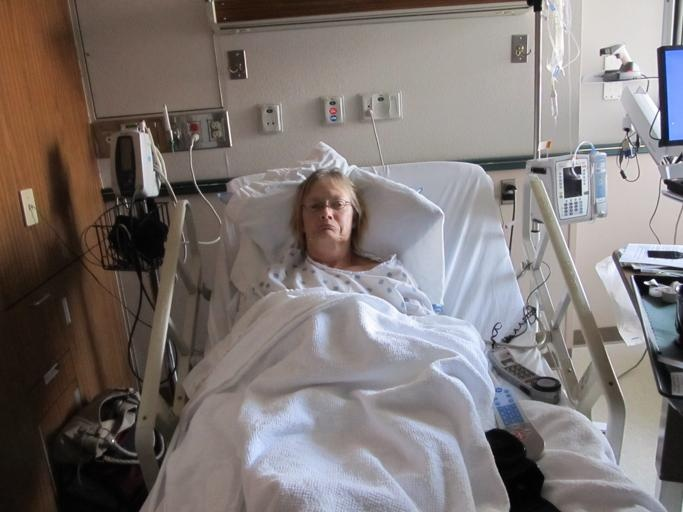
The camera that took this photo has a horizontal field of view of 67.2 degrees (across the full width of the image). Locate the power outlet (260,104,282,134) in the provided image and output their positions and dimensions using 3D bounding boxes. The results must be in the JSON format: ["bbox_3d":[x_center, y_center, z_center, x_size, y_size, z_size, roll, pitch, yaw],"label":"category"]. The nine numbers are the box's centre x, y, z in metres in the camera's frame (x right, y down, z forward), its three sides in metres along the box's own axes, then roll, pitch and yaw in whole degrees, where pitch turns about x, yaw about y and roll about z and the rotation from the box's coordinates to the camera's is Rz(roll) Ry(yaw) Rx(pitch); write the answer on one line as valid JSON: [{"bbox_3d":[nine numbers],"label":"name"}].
[{"bbox_3d":[-0.338,-0.659,2.457,0.096,0.137,0.040,-1,11,-2],"label":"power outlet"}]

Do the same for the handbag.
[{"bbox_3d":[-0.956,0.688,2.046,0.280,0.143,0.236,5,34,9],"label":"handbag"}]

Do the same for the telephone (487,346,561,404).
[{"bbox_3d":[0.630,0.417,1.796,0.090,0.098,0.347,-6,16,-10],"label":"telephone"}]

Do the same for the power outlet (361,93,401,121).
[{"bbox_3d":[0.199,-0.715,2.477,0.198,0.130,0.046,-2,15,8],"label":"power outlet"}]
